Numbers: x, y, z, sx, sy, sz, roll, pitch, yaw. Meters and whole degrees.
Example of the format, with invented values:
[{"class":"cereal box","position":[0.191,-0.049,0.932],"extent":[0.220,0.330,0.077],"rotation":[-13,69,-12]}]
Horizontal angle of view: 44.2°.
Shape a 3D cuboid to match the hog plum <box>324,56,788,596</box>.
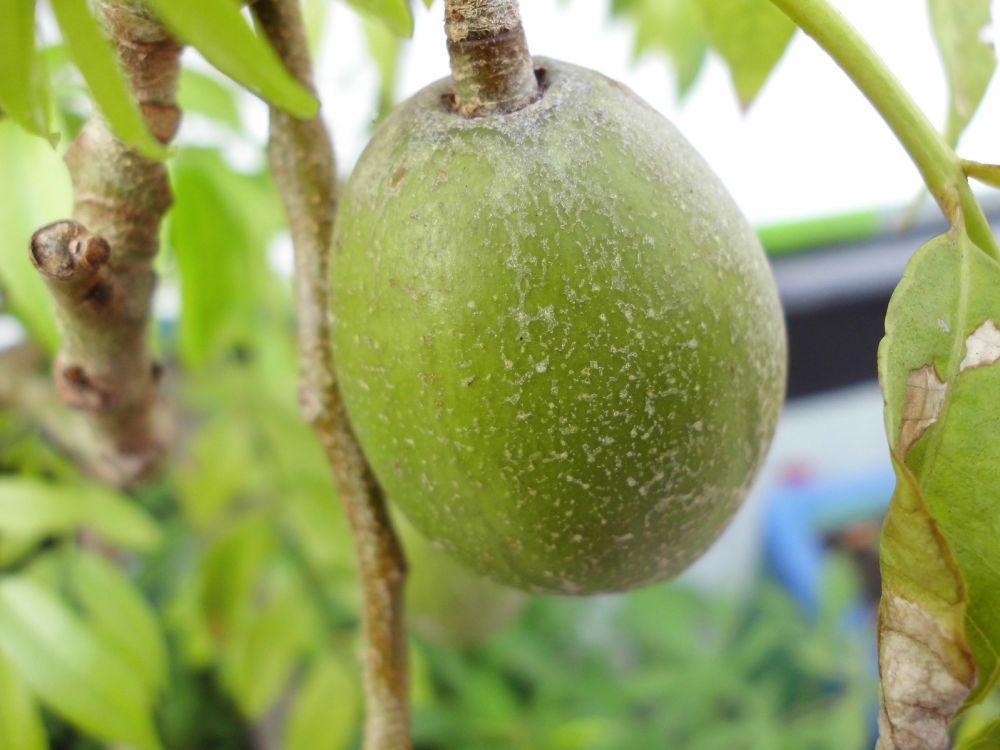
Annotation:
[{"class":"hog plum","position":[0.016,-0.025,0.741],"extent":[0.237,0.308,0.247],"rotation":[-22,35,-22]}]
